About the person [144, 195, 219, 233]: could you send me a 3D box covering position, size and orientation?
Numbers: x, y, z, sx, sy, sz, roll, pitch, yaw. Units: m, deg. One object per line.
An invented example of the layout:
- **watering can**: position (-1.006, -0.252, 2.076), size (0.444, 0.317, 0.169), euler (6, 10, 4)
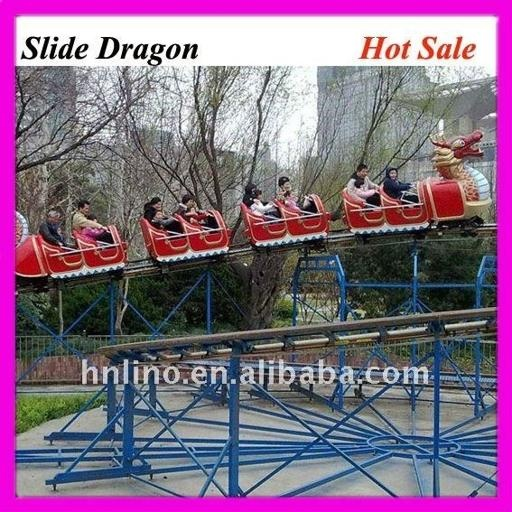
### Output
- **person**: position (-1.616, -0.834, 20.572), size (1.183, 0.458, 0.799), euler (7, 2, -29)

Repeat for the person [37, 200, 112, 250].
- **person**: position (-3.616, -0.592, 19.885), size (1.347, 1.003, 0.750), euler (-2, 5, -24)

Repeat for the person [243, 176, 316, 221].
- **person**: position (0.457, -1.178, 20.794), size (1.385, 0.815, 0.750), euler (-8, 10, 0)

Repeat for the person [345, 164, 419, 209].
- **person**: position (2.537, -1.484, 20.543), size (1.415, 0.793, 0.697), euler (0, 7, 13)
